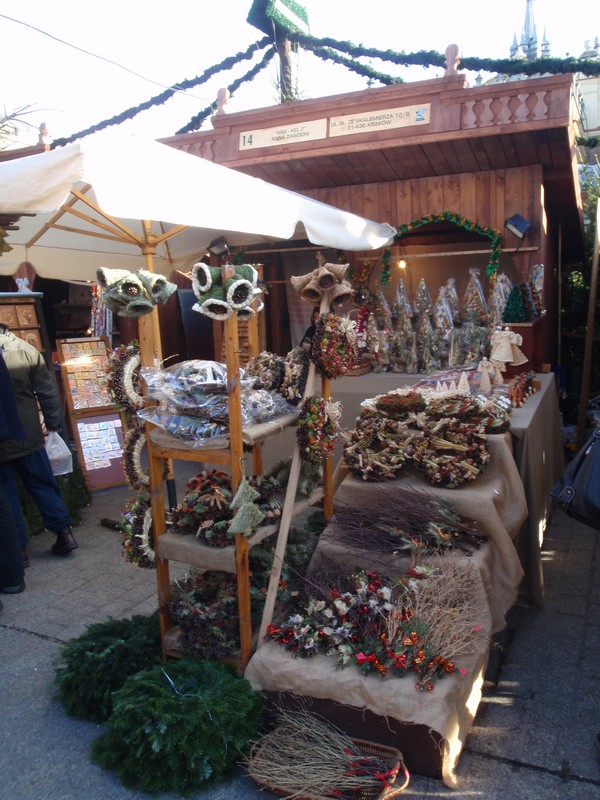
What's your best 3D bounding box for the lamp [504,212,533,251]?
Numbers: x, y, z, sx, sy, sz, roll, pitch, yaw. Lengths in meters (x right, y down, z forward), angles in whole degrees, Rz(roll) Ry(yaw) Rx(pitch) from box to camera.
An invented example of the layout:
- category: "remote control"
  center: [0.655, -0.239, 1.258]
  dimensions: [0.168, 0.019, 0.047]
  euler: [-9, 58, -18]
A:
- category: "lamp"
  center: [2.025, -1.582, 5.580]
  dimensions: [0.252, 0.345, 0.208]
  euler: [1, 9, 20]
